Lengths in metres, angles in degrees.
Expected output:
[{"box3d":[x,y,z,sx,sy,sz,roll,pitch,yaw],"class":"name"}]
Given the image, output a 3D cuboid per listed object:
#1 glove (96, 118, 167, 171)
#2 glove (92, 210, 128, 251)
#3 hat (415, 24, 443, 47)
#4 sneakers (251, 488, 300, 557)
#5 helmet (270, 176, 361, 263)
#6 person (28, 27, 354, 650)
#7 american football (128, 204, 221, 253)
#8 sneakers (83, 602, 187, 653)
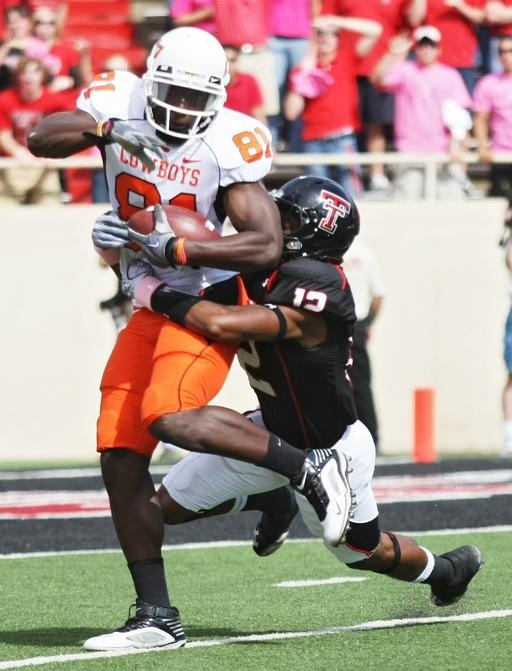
[{"box3d":[-0.331,-0.493,2.221,0.170,0.062,0.149,14,20,10],"class":"glove"},{"box3d":[-0.388,-0.277,2.371,0.123,0.096,0.035,5,-28,2],"class":"glove"},{"box3d":[1.259,-2.165,6.432,0.206,0.090,0.164,0,31,-12],"class":"hat"},{"box3d":[0.050,0.596,2.831,0.107,0.229,0.117,-20,56,-43],"class":"sneakers"},{"box3d":[0.134,-0.348,2.602,0.316,0.204,0.218,10,15,-8],"class":"helmet"},{"box3d":[-0.221,-0.034,2.324,0.831,1.635,0.454,-2,-7,19],"class":"person"},{"box3d":[-0.208,-0.281,2.265,0.184,0.051,0.121,16,2,-14],"class":"american football"},{"box3d":[-0.276,0.731,2.232,0.290,0.102,0.092,4,-6,-25],"class":"sneakers"}]
